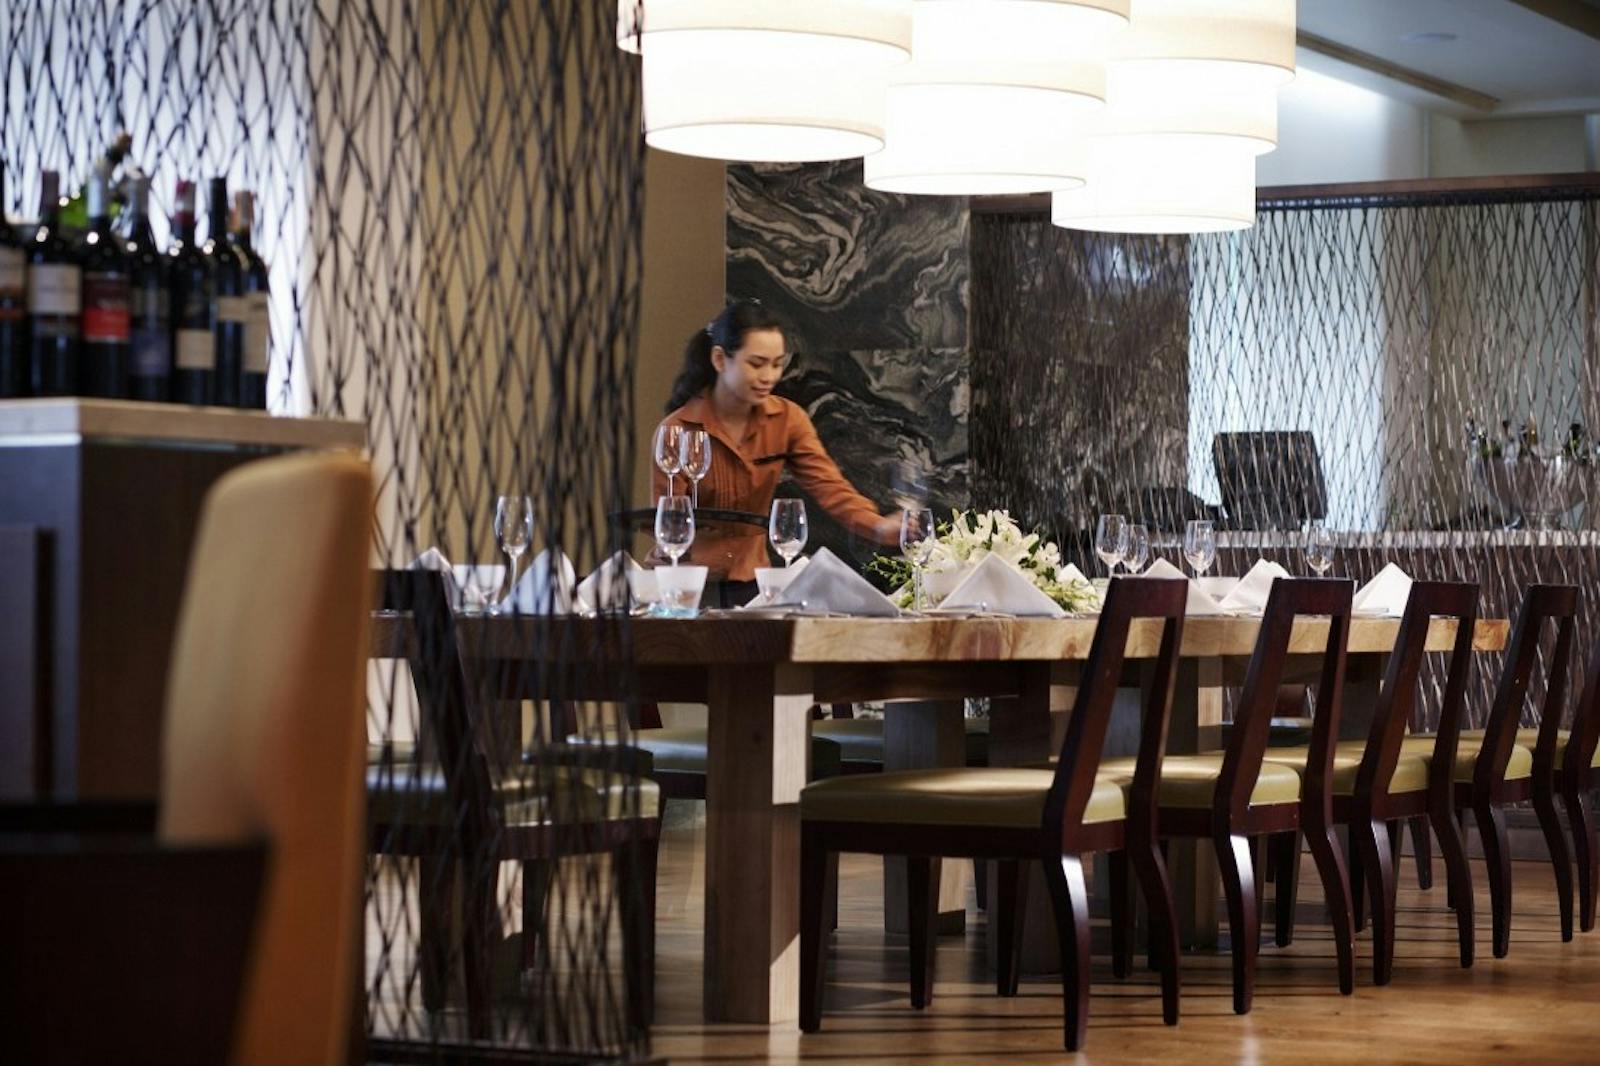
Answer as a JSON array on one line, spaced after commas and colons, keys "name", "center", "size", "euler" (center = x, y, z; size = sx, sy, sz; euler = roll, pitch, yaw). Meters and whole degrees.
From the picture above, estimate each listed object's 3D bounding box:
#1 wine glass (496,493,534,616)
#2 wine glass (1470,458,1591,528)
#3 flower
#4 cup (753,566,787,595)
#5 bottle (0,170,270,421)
[{"name": "wine glass", "center": [-0.519, 0.025, 3.213], "size": [0.070, 0.194, 0.348], "euler": [1, 1, -12]}, {"name": "wine glass", "center": [3.031, -0.170, 7.346], "size": [0.335, 0.238, 0.370], "euler": [-2, -6, 22]}, {"name": "flower", "center": [0.486, 0.053, 4.531], "size": [0.339, 0.212, 0.369], "euler": [1, -4, -12]}, {"name": "cup", "center": [-0.063, 0.102, 3.768], "size": [0.047, 0.045, 0.054], "euler": [2, 2, 36]}, {"name": "bottle", "center": [-1.159, -0.444, 3.234], "size": [0.364, 0.425, 0.174], "euler": [1, 1, -22]}]
